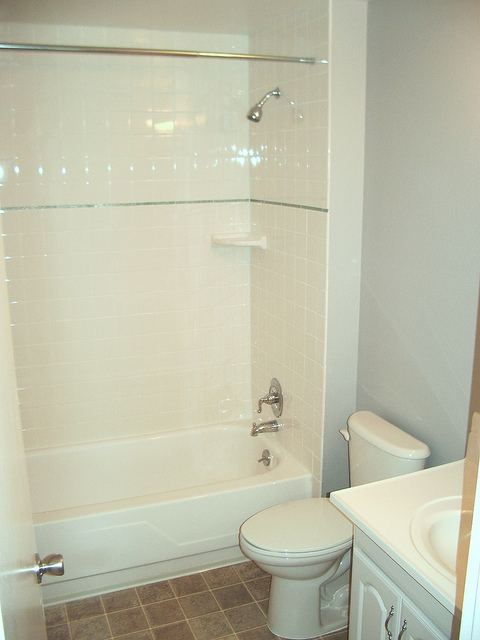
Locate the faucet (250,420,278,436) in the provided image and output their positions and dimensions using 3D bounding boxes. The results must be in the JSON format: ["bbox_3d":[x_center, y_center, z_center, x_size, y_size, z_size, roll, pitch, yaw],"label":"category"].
[{"bbox_3d":[0.134,0.575,2.836,0.111,0.065,0.089,-2,7,-12],"label":"faucet"}]

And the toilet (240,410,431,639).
[{"bbox_3d":[0.315,0.744,2.348,0.799,1.039,0.590,-4,12,-21],"label":"toilet"}]

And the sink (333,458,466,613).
[{"bbox_3d":[0.460,0.519,1.382,0.322,0.092,0.361,-5,12,-29],"label":"sink"}]

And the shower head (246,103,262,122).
[{"bbox_3d":[0.077,-0.998,2.564,0.038,0.078,0.097,-8,11,-38],"label":"shower head"}]
